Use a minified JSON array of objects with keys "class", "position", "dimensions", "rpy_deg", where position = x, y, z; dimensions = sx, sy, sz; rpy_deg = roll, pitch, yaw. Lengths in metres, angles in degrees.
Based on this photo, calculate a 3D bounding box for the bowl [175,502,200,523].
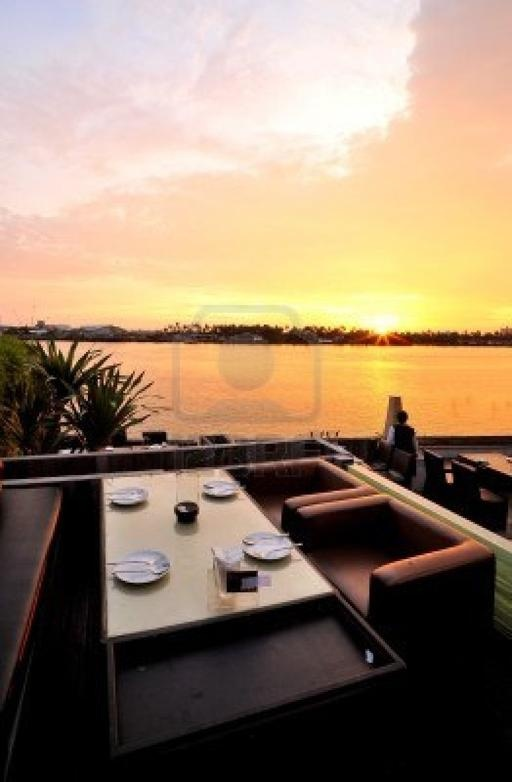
[{"class":"bowl","position":[-0.329,0.568,2.682],"dimensions":[0.078,0.061,0.089],"rpy_deg":[1,0,-9]}]

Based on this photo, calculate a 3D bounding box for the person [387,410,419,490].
[{"class":"person","position":[1.803,0.677,6.893],"dimensions":[0.336,1.110,0.318],"rpy_deg":[3,32,20]}]
